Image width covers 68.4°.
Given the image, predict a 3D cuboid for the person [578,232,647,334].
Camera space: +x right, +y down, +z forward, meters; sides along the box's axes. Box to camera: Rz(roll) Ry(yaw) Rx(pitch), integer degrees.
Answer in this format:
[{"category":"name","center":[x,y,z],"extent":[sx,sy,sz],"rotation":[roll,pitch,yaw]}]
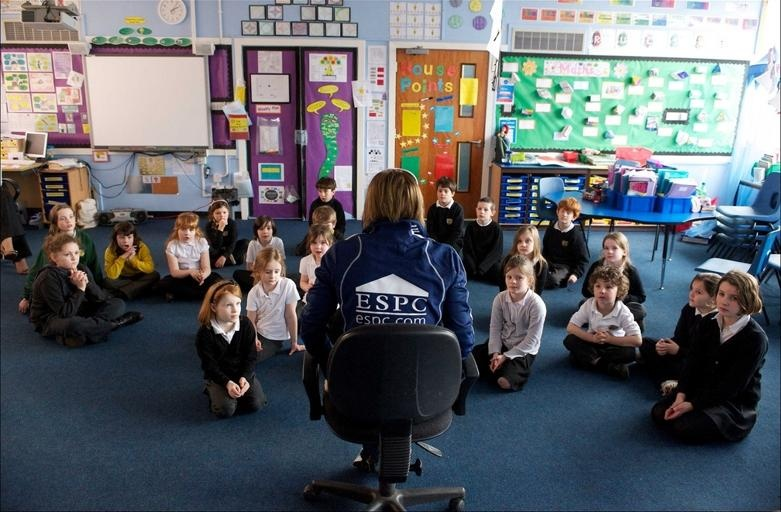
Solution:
[{"category":"person","center":[1.950,0.210,4.969],"extent":[0.624,0.783,0.627],"rotation":[-15,16,-36]}]

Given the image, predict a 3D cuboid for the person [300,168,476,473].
[{"category":"person","center":[-0.029,0.352,3.457],"extent":[1.100,1.672,1.033],"rotation":[-8,18,-37]}]

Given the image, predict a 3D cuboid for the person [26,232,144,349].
[{"category":"person","center":[-2.550,0.271,4.714],"extent":[0.872,0.827,0.630],"rotation":[11,18,0]}]

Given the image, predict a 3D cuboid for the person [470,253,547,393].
[{"category":"person","center":[0.901,0.479,4.318],"extent":[0.443,0.914,0.541],"rotation":[10,21,29]}]

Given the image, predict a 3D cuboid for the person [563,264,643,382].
[{"category":"person","center":[1.711,0.488,4.459],"extent":[0.516,0.780,0.608],"rotation":[-10,12,-35]}]

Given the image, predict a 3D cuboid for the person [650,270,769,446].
[{"category":"person","center":[2.139,0.669,3.770],"extent":[0.591,1.085,0.414],"rotation":[-9,20,-24]}]

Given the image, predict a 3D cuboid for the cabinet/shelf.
[{"category":"cabinet/shelf","center":[2.276,-0.776,7.424],"extent":[2.278,0.748,0.549],"rotation":[1,3,-13]}]

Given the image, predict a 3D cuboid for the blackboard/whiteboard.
[{"category":"blackboard/whiteboard","center":[-3.152,-1.979,7.498],"extent":[0.171,1.190,1.802],"rotation":[18,23,29]}]

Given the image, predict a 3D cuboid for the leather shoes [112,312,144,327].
[{"category":"leather shoes","center":[-2.230,0.535,4.882],"extent":[0.210,0.066,0.087],"rotation":[-14,10,-33]}]

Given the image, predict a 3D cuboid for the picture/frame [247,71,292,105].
[{"category":"picture/frame","center":[-1.575,-2.189,7.430],"extent":[0.447,0.287,0.042],"rotation":[0,12,-5]}]

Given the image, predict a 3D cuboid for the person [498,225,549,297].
[{"category":"person","center":[1.225,0.116,5.241],"extent":[0.395,0.801,0.329],"rotation":[9,10,21]}]

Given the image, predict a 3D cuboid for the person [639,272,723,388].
[{"category":"person","center":[2.112,0.528,4.137],"extent":[0.606,0.777,0.559],"rotation":[4,15,36]}]

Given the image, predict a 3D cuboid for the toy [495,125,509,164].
[{"category":"toy","center":[1.478,-1.475,7.538],"extent":[0.182,0.466,0.392],"rotation":[3,18,9]}]

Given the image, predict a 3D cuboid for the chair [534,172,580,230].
[{"category":"chair","center":[1.975,-0.572,6.710],"extent":[0.326,0.410,0.366],"rotation":[19,1,-21]}]
